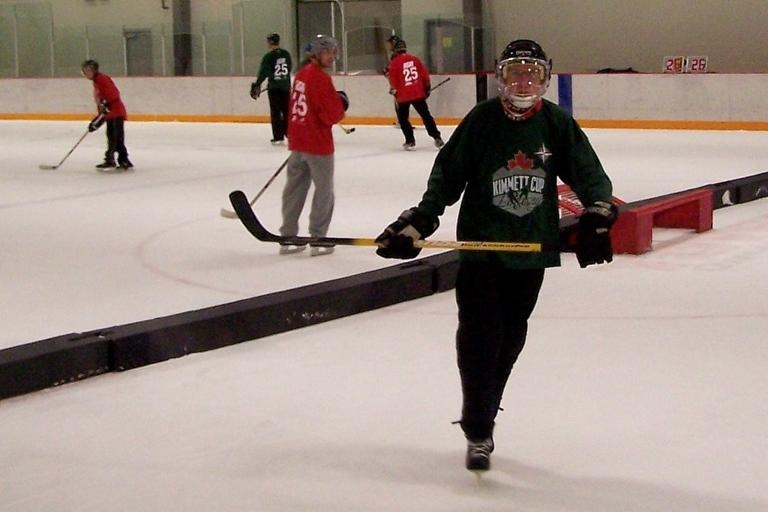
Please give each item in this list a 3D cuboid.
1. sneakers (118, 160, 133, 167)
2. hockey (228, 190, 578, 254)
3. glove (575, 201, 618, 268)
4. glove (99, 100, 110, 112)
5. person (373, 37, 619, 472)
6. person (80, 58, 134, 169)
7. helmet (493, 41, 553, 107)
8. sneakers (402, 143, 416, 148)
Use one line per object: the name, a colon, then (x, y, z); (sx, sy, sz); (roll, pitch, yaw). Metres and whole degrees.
sneakers: (-3.429, -1.229, 8.546); (0.098, 0.081, 0.161); (-4, 7, 33)
hockey: (0.077, -0.110, 2.467); (1.257, 0.170, 0.057); (3, 8, -9)
glove: (0.721, -0.071, 2.139); (0.109, 0.202, 0.152); (3, 3, -29)
glove: (-3.589, -1.914, 8.217); (0.175, 0.156, 0.071); (8, 19, 24)
person: (0.398, -0.009, 2.212); (0.815, 1.400, 0.496); (-6, 19, -17)
person: (-3.746, -1.923, 8.677); (0.496, 1.397, 1.125); (-8, 19, -21)
helmet: (0.462, -0.610, 2.135); (0.175, 0.208, 0.219); (3, 18, 12)
sneakers: (0.397, -1.729, 9.997); (0.148, 0.096, 0.075); (2, 10, 9)
